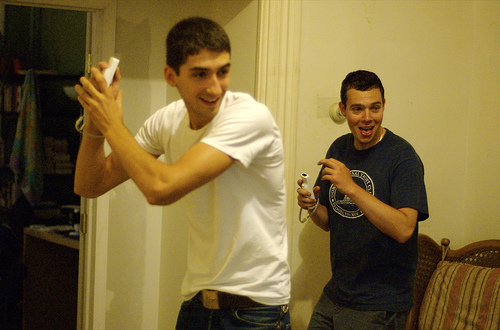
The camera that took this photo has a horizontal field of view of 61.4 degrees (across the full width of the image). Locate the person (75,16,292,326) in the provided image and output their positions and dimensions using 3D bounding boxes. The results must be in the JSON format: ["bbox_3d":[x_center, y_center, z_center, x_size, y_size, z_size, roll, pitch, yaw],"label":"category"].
[{"bbox_3d":[-0.283,0.055,2.018,1.038,1.514,0.457,5,3,6],"label":"person"}]

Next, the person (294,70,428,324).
[{"bbox_3d":[0.666,0.212,2.488,0.722,1.195,0.413,5,3,20],"label":"person"}]

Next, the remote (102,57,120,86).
[{"bbox_3d":[-0.648,-0.435,1.955,0.067,0.136,0.067,3,3,-20],"label":"remote"}]

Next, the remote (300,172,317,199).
[{"bbox_3d":[0.349,0.128,2.542,0.062,0.203,0.048,-40,49,-21],"label":"remote"}]

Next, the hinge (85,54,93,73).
[{"bbox_3d":[-1.150,-0.727,3.017,0.046,0.134,0.206,3,3,-23],"label":"hinge"}]

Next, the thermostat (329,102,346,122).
[{"bbox_3d":[0.598,-0.361,2.866,0.118,0.099,0.043,5,3,7],"label":"thermostat"}]

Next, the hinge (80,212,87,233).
[{"bbox_3d":[-1.204,0.417,3.059,0.060,0.148,0.011,5,3,25],"label":"hinge"}]

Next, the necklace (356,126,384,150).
[{"bbox_3d":[0.763,-0.163,2.538,0.120,0.126,0.031,1,0,-6],"label":"necklace"}]
